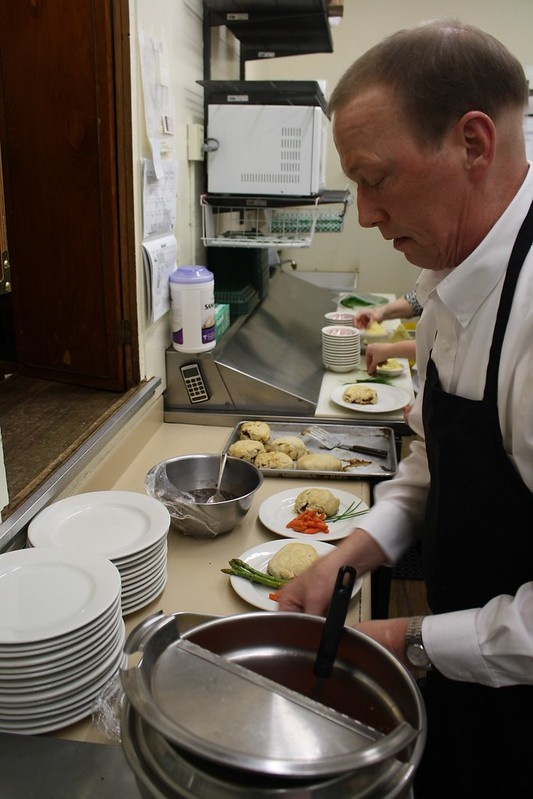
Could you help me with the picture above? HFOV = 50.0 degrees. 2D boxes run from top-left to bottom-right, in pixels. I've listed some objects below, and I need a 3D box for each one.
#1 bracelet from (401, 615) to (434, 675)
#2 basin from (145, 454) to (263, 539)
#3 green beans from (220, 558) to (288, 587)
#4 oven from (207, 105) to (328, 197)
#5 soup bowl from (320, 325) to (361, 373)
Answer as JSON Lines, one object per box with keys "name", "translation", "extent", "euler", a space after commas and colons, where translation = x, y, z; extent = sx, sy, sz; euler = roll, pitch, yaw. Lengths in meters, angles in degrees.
{"name": "bracelet", "translation": [0.203, 0.337, 0.776], "extent": [0.045, 0.043, 0.028], "euler": [-7, 26, 29]}
{"name": "basin", "translation": [-0.158, 0.222, 1.396], "extent": [0.202, 0.097, 0.211], "euler": [1, 17, 0]}
{"name": "green beans", "translation": [-0.022, 0.352, 1.156], "extent": [0.104, 0.029, 0.022], "euler": [19, 47, 8]}
{"name": "oven", "translation": [-0.005, -0.886, 2.156], "extent": [0.346, 0.233, 0.368], "euler": [2, 22, 3]}
{"name": "soup bowl", "translation": [0.313, -0.219, 2.489], "extent": [0.170, 0.172, 0.192], "euler": [0, 16, 1]}
